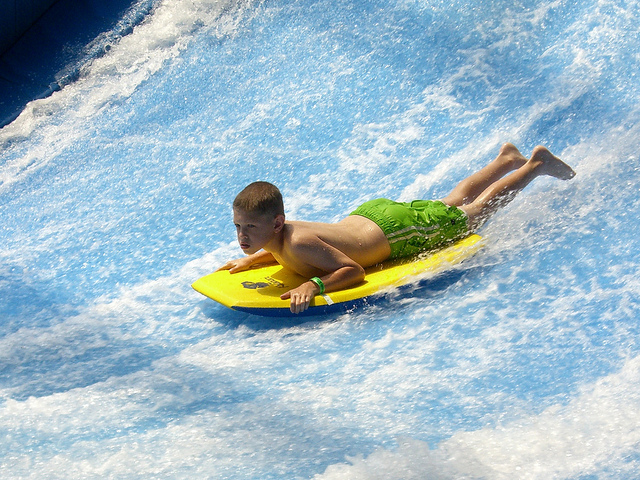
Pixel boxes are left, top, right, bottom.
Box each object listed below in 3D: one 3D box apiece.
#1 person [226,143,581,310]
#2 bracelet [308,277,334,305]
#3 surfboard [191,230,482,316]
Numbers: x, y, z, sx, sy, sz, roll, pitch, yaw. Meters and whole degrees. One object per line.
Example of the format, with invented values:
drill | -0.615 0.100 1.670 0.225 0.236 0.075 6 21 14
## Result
person | 0.745 -0.216 3.907 2.312 0.503 0.870 -20 29 -18
bracelet | 0.019 0.270 3.469 0.087 0.145 0.025 -9 -10 -1
surfboard | 0.156 0.198 3.673 1.326 0.111 0.578 -11 17 -21
